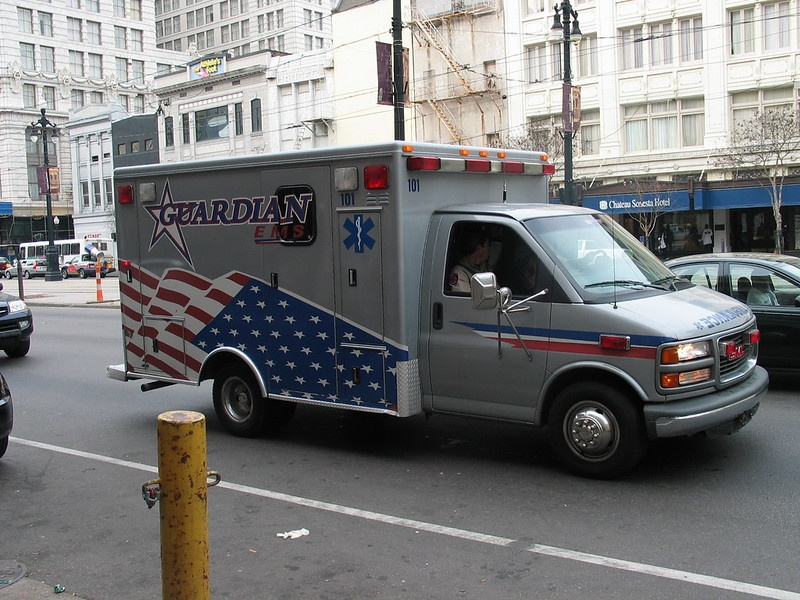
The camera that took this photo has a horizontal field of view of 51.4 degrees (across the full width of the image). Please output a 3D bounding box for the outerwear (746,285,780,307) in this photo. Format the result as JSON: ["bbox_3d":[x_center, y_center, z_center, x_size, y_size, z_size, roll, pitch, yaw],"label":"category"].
[{"bbox_3d":[4.721,-0.036,10.802,0.191,0.397,0.376,-7,-7,41],"label":"outerwear"}]

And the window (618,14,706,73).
[{"bbox_3d":[10.983,-10.676,34.906,0.363,2.024,3.679,-20,17,-30],"label":"window"}]

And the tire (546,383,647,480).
[{"bbox_3d":[1.887,1.217,7.849,0.687,0.779,0.330,-19,-9,29],"label":"tire"}]

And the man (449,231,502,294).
[{"bbox_3d":[0.790,-0.392,8.479,0.220,0.674,0.445,13,-3,-39],"label":"man"}]

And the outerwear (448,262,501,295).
[{"bbox_3d":[0.641,-0.234,8.293,0.329,0.369,0.145,3,-3,-2],"label":"outerwear"}]

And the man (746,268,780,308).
[{"bbox_3d":[4.728,-0.326,10.864,0.334,0.676,0.691,-1,9,14],"label":"man"}]

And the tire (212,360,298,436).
[{"bbox_3d":[-1.793,1.143,9.820,0.899,1.013,0.319,17,13,35],"label":"tire"}]

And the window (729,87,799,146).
[{"bbox_3d":[14.087,-7.035,31.830,2.402,1.953,0.241,-4,-5,45],"label":"window"}]

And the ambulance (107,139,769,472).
[{"bbox_3d":[0.379,-0.076,9.684,5.843,3.087,3.608,1,6,31],"label":"ambulance"}]

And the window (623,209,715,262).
[{"bbox_3d":[12.037,-2.799,36.278,2.869,1.867,1.789,-3,5,23],"label":"window"}]
